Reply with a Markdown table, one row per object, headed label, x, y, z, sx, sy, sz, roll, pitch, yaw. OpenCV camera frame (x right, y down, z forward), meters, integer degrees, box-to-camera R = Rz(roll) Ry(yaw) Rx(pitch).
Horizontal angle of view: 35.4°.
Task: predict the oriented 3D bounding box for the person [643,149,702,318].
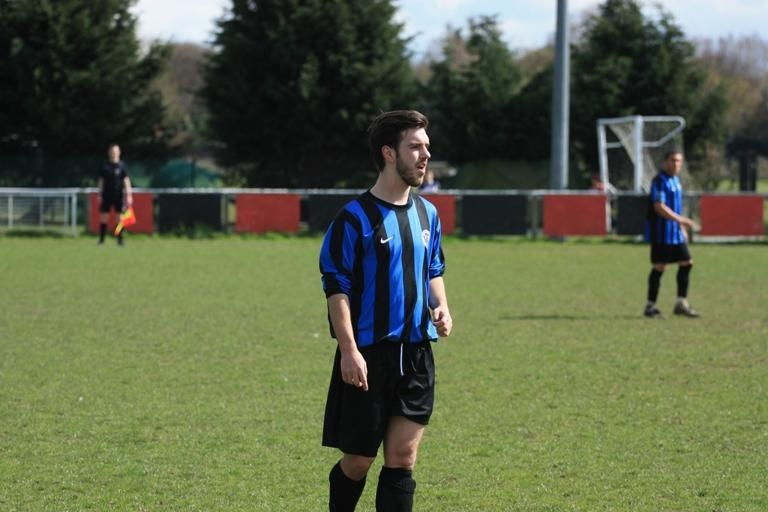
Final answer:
| label | x | y | z | sx | sy | sz | roll | pitch | yaw |
| --- | --- | --- | --- | --- | --- | --- | --- | --- | --- |
| person | 4.898 | -0.374 | 20.693 | 0.878 | 2.841 | 1.090 | 0 | 2 | 13 |

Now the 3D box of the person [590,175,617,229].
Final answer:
| label | x | y | z | sx | sy | sz | roll | pitch | yaw |
| --- | --- | --- | --- | --- | --- | --- | --- | --- | --- |
| person | 5.402 | -1.323 | 29.627 | 0.550 | 1.375 | 1.853 | -1 | 3 | 9 |

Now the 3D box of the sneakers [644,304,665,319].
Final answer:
| label | x | y | z | sx | sy | sz | roll | pitch | yaw |
| --- | --- | --- | --- | --- | --- | --- | --- | --- | --- |
| sneakers | 4.649 | 0.941 | 20.802 | 0.278 | 0.192 | 0.181 | -1 | 0 | 10 |

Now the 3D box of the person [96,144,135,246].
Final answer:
| label | x | y | z | sx | sy | sz | roll | pitch | yaw |
| --- | --- | --- | --- | --- | --- | --- | --- | --- | --- |
| person | -5.976 | -1.361 | 27.192 | 0.673 | 2.240 | 1.152 | -2 | 2 | -16 |
